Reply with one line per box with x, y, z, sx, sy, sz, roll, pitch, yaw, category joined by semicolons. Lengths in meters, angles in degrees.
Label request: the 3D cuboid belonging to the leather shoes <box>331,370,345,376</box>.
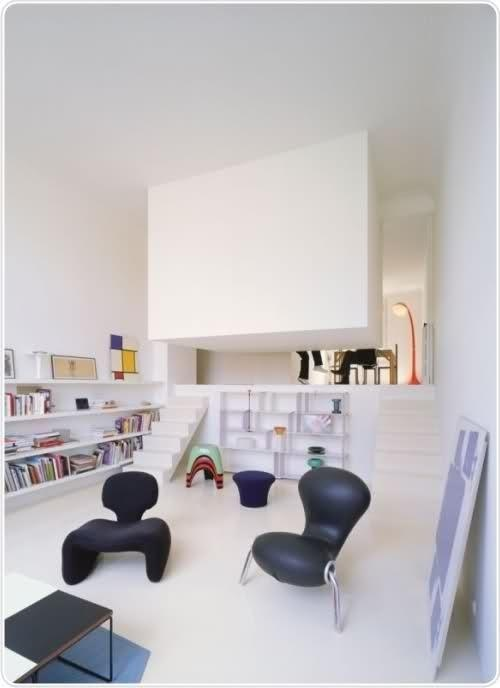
1.512;0.472;8.199;0.082;0.173;0.221;2;3;-44;leather shoes

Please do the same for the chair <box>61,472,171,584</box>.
-0.883;1.280;3.435;0.561;0.649;0.641;-3;-15;5;chair

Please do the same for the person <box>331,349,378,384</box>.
1.760;0.356;7.943;0.376;0.557;0.748;1;-2;-26;person

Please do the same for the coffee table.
-0.906;1.195;2.201;0.332;0.290;0.356;12;7;25;coffee table

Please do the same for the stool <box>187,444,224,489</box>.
-0.517;1.449;5.968;0.421;0.506;0.486;1;2;13;stool

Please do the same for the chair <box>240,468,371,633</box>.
0.396;1.206;3.055;0.627;0.723;0.733;-1;-2;32;chair

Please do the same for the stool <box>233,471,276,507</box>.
0.026;1.450;4.819;0.328;0.275;0.351;3;-6;-17;stool

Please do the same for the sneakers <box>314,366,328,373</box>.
1.155;0.392;7.825;0.183;0.093;0.616;0;-2;5;sneakers
